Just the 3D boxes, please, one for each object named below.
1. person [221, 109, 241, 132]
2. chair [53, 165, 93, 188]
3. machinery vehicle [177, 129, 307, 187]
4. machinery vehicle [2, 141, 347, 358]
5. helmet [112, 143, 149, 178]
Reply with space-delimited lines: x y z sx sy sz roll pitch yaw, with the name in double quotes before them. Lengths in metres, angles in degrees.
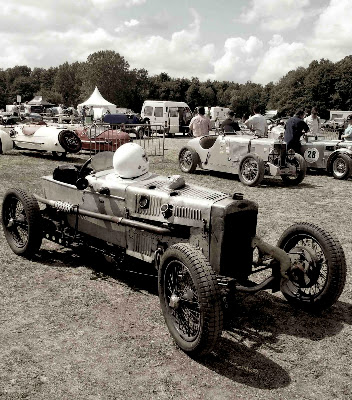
"person" 1.676 -2.392 10.460 0.553 0.733 1.001 5 10 14
"chair" -1.309 -0.316 4.309 0.477 0.166 0.337 14 19 41
"machinery vehicle" 1.711 -1.264 10.155 1.665 1.240 3.263 -11 15 -40
"machinery vehicle" -0.180 0.175 3.417 3.218 1.445 1.537 11 13 41
"helmet" -0.446 -0.446 3.666 0.414 0.333 0.324 -20 29 -41
